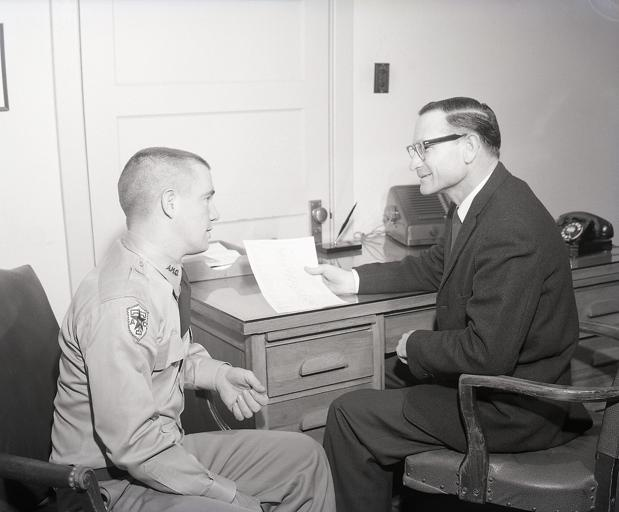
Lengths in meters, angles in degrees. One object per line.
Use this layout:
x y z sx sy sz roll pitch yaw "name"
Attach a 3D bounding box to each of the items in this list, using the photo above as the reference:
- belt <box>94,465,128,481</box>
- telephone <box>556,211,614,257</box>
-0.479 0.522 1.327 0.082 0.028 0.031 -5 8 2 "belt"
1.274 -0.100 2.559 0.275 0.177 0.319 -13 13 -43 "telephone"
